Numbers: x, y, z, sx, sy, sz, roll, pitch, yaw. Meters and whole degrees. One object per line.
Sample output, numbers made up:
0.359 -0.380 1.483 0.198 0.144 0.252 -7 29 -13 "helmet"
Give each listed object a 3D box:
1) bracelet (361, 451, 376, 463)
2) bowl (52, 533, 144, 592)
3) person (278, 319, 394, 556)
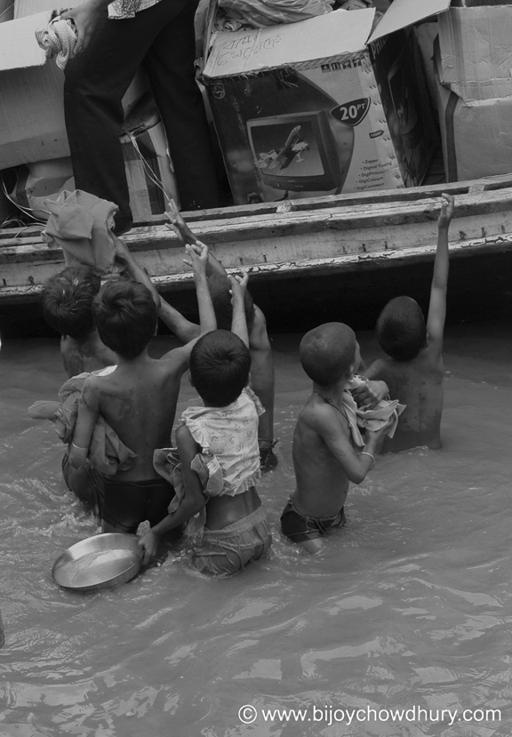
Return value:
0.399 0.316 2.735 0.039 0.046 0.069 -12 12 2 "bracelet"
-0.558 0.691 2.705 0.319 0.147 0.227 -15 13 -18 "bowl"
0.324 0.312 3.066 0.460 1.076 0.355 -14 47 -9 "person"
